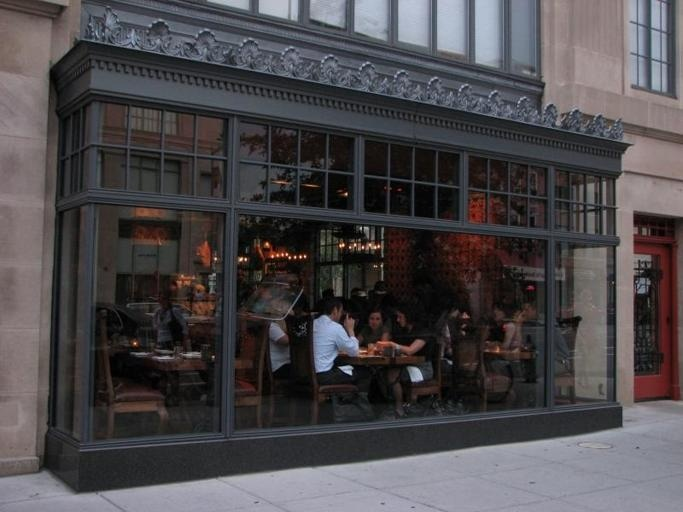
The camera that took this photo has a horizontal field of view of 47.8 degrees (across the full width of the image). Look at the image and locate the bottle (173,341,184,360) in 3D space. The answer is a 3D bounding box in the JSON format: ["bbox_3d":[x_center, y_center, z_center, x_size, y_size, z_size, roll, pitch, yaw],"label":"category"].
[{"bbox_3d":[-2.105,1.196,9.783,0.171,0.296,0.175,0,-7,0],"label":"bottle"}]

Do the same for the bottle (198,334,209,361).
[{"bbox_3d":[-1.721,1.163,9.650,0.164,0.301,0.029,4,3,39],"label":"bottle"}]

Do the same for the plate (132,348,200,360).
[{"bbox_3d":[-2.213,1.242,9.739,0.855,0.111,0.284,2,2,-10],"label":"plate"}]

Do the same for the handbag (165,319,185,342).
[{"bbox_3d":[-2.100,0.956,9.795,0.267,0.264,0.063,-10,6,30],"label":"handbag"}]
